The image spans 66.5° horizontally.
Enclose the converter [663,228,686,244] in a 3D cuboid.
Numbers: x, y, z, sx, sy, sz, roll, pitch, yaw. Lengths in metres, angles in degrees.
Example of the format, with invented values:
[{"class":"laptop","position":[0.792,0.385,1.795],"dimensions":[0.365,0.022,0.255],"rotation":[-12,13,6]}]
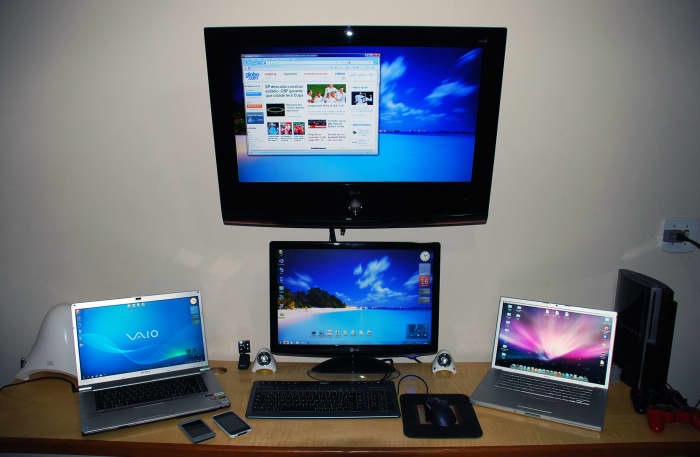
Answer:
[{"class":"converter","position":[1.734,0.041,2.862],"dimensions":[0.125,0.081,0.030],"rotation":[2,11,4]}]

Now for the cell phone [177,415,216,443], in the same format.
[{"class":"cell phone","position":[-0.704,0.912,2.432],"dimensions":[0.115,0.019,0.181],"rotation":[-12,29,-35]}]

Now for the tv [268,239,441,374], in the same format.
[{"class":"tv","position":[0.018,0.385,2.750],"dimensions":[0.713,0.531,0.188],"rotation":[0,1,1]}]
